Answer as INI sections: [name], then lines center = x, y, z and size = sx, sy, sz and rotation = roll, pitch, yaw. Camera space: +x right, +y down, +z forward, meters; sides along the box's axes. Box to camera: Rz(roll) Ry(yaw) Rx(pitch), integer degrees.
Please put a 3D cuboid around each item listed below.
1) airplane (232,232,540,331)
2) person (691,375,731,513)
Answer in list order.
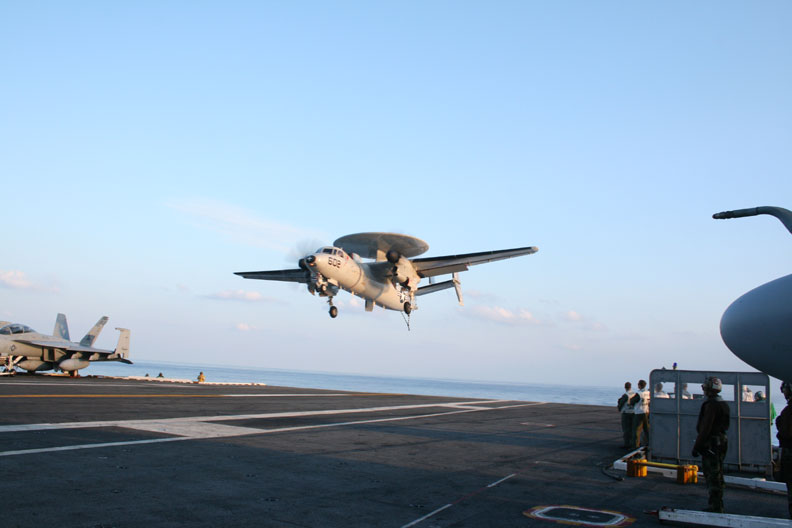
[airplane]
center = -1.160, 0.304, 38.594
size = 13.204, 2.158, 10.349
rotation = -6, -13, 31
[person]
center = 7.010, 4.000, 14.296
size = 0.643, 2.908, 0.803
rotation = 5, -11, 24
